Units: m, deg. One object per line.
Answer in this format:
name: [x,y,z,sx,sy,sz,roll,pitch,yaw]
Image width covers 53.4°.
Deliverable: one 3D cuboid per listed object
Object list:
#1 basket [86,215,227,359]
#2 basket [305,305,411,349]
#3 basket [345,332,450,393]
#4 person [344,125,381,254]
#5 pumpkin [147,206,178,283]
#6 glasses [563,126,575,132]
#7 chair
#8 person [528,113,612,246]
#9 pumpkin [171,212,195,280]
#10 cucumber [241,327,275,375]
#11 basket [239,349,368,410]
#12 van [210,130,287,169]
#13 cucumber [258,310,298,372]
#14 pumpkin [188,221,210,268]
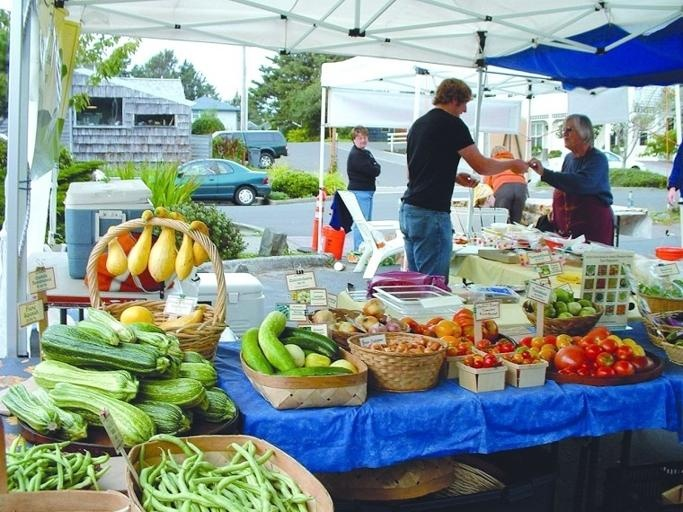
basket: [-0.969,0.201,3.594,0.648,0.822,0.618,-1,10,-17]
basket: [0.043,0.325,3.811,0.540,0.203,0.553,-3,11,-19]
basket: [0.271,0.476,3.516,0.459,0.273,0.632,-3,12,-20]
person: [0.337,-1.038,11.015,0.574,1.900,0.576,-3,14,-23]
pumpkin: [-0.960,-0.058,3.690,0.173,0.384,0.150,-5,10,-15]
glasses: [2.029,-1.122,6.085,0.035,0.037,0.101,-2,8,-24]
chair: [0.609,-0.237,9.832,0.965,1.283,0.937,-4,15,-26]
person: [2.066,-0.631,6.372,0.606,1.491,0.650,-8,14,-32]
pumpkin: [-0.850,-0.054,3.683,0.103,0.365,0.097,-21,-36,32]
cucumber: [-0.430,0.477,3.354,0.124,0.066,0.224,-20,33,-3]
basket: [-0.192,0.576,3.372,0.531,0.189,0.441,-2,10,-25]
van: [-4.380,-4.720,29.568,4.011,1.755,2.534,-8,12,-39]
cucumber: [-0.338,0.439,3.429,0.182,0.114,0.385,-3,38,-14]
pumpkin: [-0.728,-0.067,3.591,0.127,0.241,0.103,-13,12,-19]
